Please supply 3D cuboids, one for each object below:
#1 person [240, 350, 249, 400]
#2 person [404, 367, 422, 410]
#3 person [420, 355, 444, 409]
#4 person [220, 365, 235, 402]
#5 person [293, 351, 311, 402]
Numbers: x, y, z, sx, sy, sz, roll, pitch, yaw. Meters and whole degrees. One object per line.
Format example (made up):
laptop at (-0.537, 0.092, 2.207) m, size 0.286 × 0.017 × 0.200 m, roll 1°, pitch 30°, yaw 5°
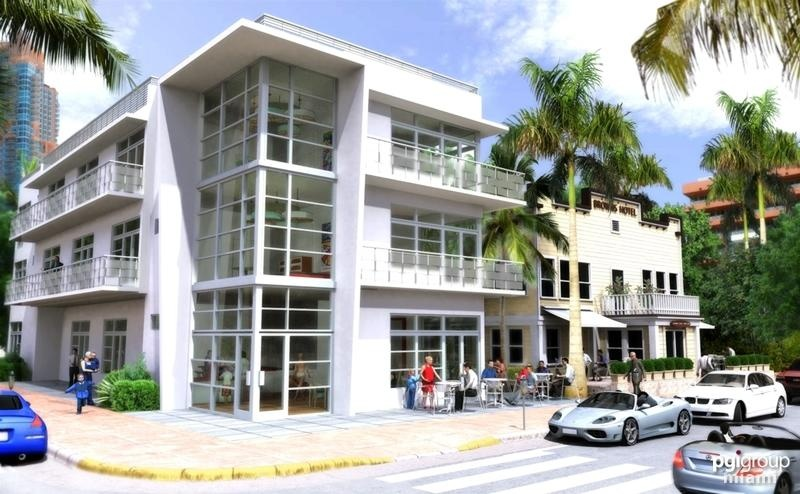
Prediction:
person at (-6.714, 5.603, 27.041) m, size 0.502 × 2.128 × 0.281 m, roll 0°, pitch -2°, yaw -19°
person at (0.554, 6.929, 29.767) m, size 0.753 × 1.469 × 0.606 m, roll -2°, pitch -16°, yaw 1°
person at (1.335, 6.403, 29.332) m, size 0.801 × 2.344 × 1.587 m, roll -2°, pitch -16°, yaw 1°
person at (-7.590, 6.038, 27.658) m, size 0.258 × 1.556 × 1.073 m, roll 10°, pitch -20°, yaw -36°
person at (-4.359, 5.744, 27.562) m, size 0.673 × 1.983 × 0.499 m, roll 4°, pitch -17°, yaw -20°
